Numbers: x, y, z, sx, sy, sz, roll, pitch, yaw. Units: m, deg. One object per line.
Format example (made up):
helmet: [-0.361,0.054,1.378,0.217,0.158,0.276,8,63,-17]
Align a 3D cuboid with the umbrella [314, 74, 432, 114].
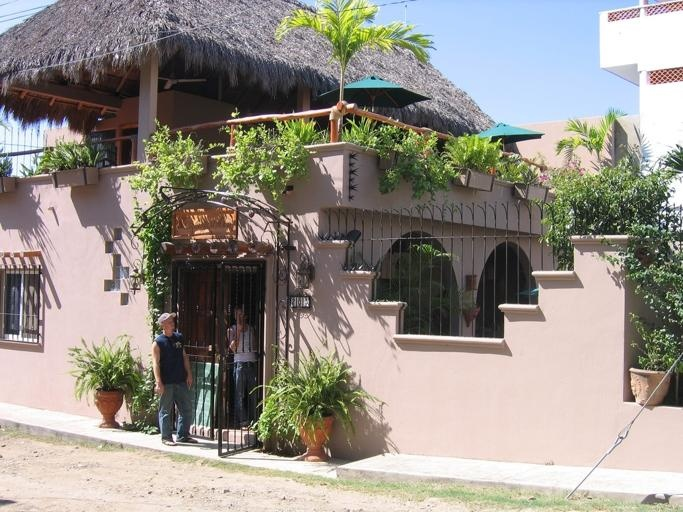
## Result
umbrella: [0.835,-3.437,19.561,1.543,0.656,1.960,-3,8,1]

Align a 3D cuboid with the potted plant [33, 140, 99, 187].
potted plant: [-5.488,-1.640,18.956,1.126,0.984,1.048,-9,-24,-15]

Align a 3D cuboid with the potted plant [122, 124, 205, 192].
potted plant: [-3.227,-1.503,17.241,1.109,0.565,1.188,-18,-1,1]

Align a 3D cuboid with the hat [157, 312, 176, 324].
hat: [-3.073,1.151,16.182,0.301,0.128,0.200,-29,-2,25]

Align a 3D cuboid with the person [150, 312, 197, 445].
person: [-2.920,2.159,16.277,0.657,2.300,0.540,-4,7,-16]

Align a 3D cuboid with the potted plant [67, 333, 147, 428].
potted plant: [-4.408,2.471,17.730,1.120,1.558,1.204,1,-5,0]

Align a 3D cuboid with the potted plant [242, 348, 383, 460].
potted plant: [-0.584,2.465,15.649,1.671,1.313,1.697,1,-5,-39]
